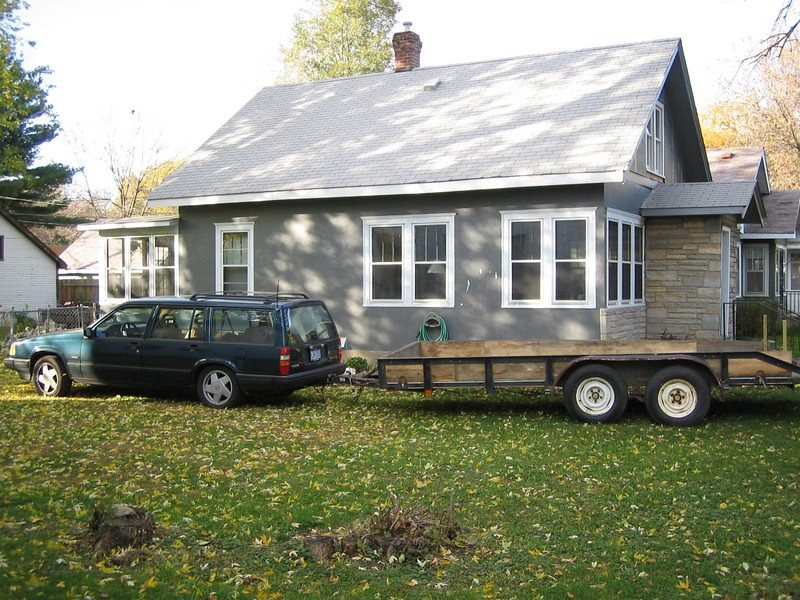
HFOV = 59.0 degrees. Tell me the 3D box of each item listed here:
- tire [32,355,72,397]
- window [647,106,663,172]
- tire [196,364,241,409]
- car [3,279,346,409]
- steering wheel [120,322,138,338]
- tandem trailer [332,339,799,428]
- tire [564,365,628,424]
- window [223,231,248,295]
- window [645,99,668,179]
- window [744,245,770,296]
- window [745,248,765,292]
[{"bbox_3d":[-6.685,1.440,13.539,0.614,0.611,0.200,29,12,22],"label":"tire"},{"bbox_3d":[6.453,-4.059,17.810,0.137,2.097,1.835,0,2,28],"label":"window"},{"bbox_3d":[-3.192,1.515,12.451,0.672,0.668,0.221,12,6,16],"label":"tire"},{"bbox_3d":[-4.193,0.641,13.570,5.500,1.779,2.324,2,1,15],"label":"car"},{"bbox_3d":[-4.985,0.559,13.017,0.276,0.279,0.064,-6,-5,16],"label":"steering wheel"},{"bbox_3d":[3.189,1.335,11.263,6.693,1.284,3.718,6,-1,12],"label":"tandem trailer"},{"bbox_3d":[3.086,1.466,11.074,0.945,0.926,0.139,1,4,10],"label":"tire"},{"bbox_3d":[-4.377,-0.904,18.726,0.806,1.748,0.094,1,4,17],"label":"window"},{"bbox_3d":[6.474,-4.025,17.803,0.187,2.736,2.392,0,1,27],"label":"window"},{"bbox_3d":[12.545,-0.992,24.819,1.037,1.877,0.125,0,0,-8],"label":"window"},{"bbox_3d":[12.546,-0.982,24.838,0.847,1.820,0.094,0,-1,2],"label":"window"}]
